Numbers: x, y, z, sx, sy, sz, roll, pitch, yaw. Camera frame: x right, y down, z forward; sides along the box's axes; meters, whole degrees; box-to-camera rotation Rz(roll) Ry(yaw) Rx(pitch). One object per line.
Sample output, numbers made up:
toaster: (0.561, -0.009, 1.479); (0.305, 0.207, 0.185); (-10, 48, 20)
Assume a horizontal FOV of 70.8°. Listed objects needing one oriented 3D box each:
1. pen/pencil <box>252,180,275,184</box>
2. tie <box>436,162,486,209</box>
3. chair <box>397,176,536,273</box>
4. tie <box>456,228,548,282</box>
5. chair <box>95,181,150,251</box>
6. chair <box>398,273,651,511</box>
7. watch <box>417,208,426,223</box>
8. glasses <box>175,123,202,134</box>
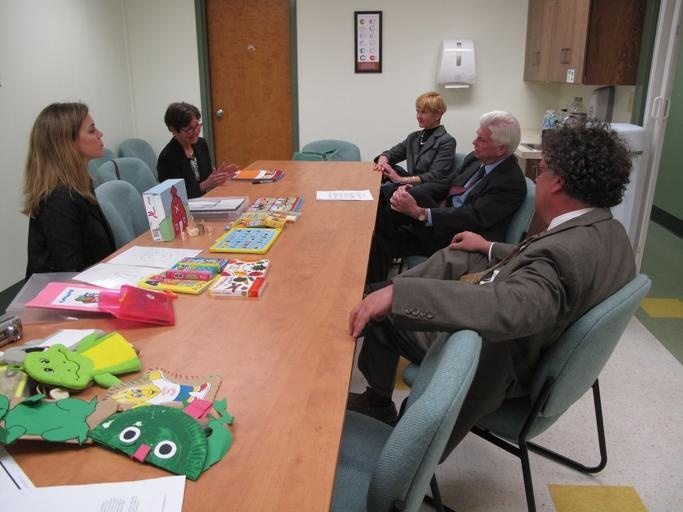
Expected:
pen/pencil: (-0.540, -0.506, 3.263); (0.117, 0.017, 0.027); (2, -5, -7)
tie: (0.793, -0.449, 3.126); (0.190, 0.271, 0.099); (40, 15, 19)
chair: (0.754, -0.212, 2.954); (0.630, 0.735, 0.520); (1, 7, -18)
tie: (0.622, -0.004, 1.923); (0.105, 0.111, 0.343); (-33, 8, -17)
chair: (-1.125, -0.199, 2.445); (0.223, 0.364, 0.221); (14, 33, 13)
chair: (0.606, 0.491, 1.624); (0.492, 0.820, 0.524); (-27, 42, -37)
watch: (0.489, -0.250, 2.960); (0.046, 0.075, 0.071); (6, 58, 8)
glasses: (-1.082, -0.933, 3.502); (0.119, 0.061, 0.252); (5, 22, 19)
